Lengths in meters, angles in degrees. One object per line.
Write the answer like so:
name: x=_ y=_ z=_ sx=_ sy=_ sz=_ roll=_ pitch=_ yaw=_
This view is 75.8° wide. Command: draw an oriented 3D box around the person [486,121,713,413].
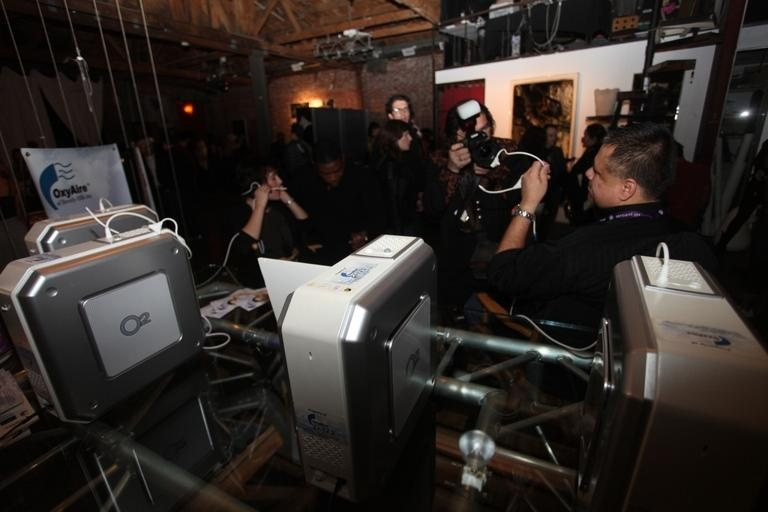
person: x=0.826 y=-0.080 z=2.122 sx=1.023 sy=0.844 sz=0.829 roll=-18 pitch=27 yaw=-27

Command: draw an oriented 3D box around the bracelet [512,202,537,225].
bracelet: x=0.684 y=-0.209 z=2.422 sx=0.106 sy=0.073 sz=0.114 roll=28 pitch=16 yaw=-3
